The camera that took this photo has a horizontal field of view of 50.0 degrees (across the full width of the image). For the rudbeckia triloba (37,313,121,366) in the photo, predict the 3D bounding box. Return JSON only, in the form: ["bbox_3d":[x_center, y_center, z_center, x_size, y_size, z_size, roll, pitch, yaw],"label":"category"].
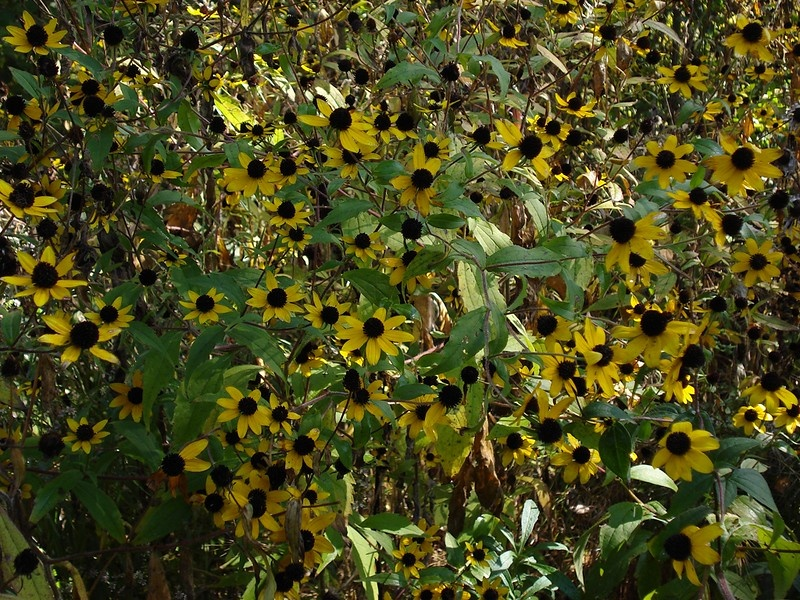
[{"bbox_3d":[-0.981,0.131,2.639,0.226,0.159,0.272,14,-4,-20],"label":"rudbeckia triloba"}]

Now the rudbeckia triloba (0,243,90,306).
[{"bbox_3d":[-1.128,-0.041,2.724,0.227,0.246,0.094,25,-31,-23],"label":"rudbeckia triloba"}]

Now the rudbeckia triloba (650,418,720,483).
[{"bbox_3d":[0.881,0.468,2.627,0.178,0.140,0.148,11,-4,23],"label":"rudbeckia triloba"}]

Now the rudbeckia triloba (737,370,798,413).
[{"bbox_3d":[1.411,0.358,3.287,0.155,0.178,0.083,2,-35,3],"label":"rudbeckia triloba"}]

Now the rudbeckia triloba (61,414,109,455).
[{"bbox_3d":[-1.056,0.457,2.890,0.138,0.123,0.222,14,-4,-21],"label":"rudbeckia triloba"}]
